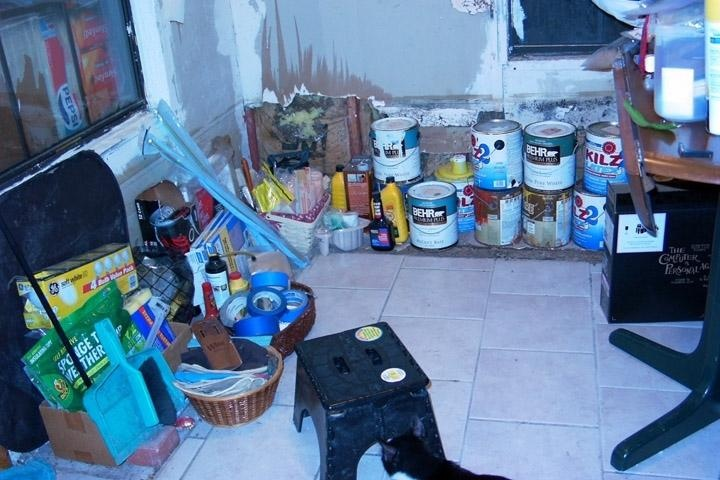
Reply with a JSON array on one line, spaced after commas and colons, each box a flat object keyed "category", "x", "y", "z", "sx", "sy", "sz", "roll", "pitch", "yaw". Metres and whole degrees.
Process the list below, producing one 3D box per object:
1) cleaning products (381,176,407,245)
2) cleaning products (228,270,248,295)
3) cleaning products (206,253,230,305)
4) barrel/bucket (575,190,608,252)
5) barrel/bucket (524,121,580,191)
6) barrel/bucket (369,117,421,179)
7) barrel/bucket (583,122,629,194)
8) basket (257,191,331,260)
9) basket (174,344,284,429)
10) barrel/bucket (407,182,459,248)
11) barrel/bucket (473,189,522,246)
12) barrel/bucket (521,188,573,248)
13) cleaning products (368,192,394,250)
[{"category": "cleaning products", "x": 0.217, "y": -0.191, "z": 3.424, "sx": 0.162, "sy": 0.432, "sz": 0.116, "roll": 5, "pitch": 26, "yaw": 26}, {"category": "cleaning products", "x": -0.638, "y": 0.226, "z": 2.765, "sx": 0.107, "sy": 0.099, "sz": 0.105, "roll": -2, "pitch": 13, "yaw": 3}, {"category": "cleaning products", "x": -0.739, "y": 0.217, "z": 2.726, "sx": 0.116, "sy": 0.271, "sz": 0.113, "roll": -7, "pitch": 12, "yaw": 1}, {"category": "barrel/bucket", "x": 1.410, "y": -0.127, "z": 3.188, "sx": 0.203, "sy": 0.328, "sz": 0.207, "roll": 0, "pitch": 13, "yaw": 0}, {"category": "barrel/bucket", "x": 1.160, "y": -0.510, "z": 3.186, "sx": 0.314, "sy": 0.341, "sz": 0.316, "roll": -6, "pitch": 24, "yaw": 3}, {"category": "barrel/bucket", "x": 0.232, "y": -0.585, "z": 3.468, "sx": 0.300, "sy": 0.370, "sz": 0.233, "roll": 15, "pitch": 32, "yaw": 33}, {"category": "barrel/bucket", "x": 1.441, "y": -0.446, "z": 3.048, "sx": 0.252, "sy": 0.331, "sz": 0.255, "roll": 3, "pitch": 17, "yaw": -1}, {"category": "basket", "x": -0.389, "y": -0.096, "z": 3.329, "sx": 0.386, "sy": 0.324, "sz": 0.382, "roll": 3, "pitch": 24, "yaw": 12}, {"category": "basket", "x": -0.536, "y": 0.733, "z": 2.404, "sx": 0.384, "sy": 0.143, "sz": 0.384, "roll": -13, "pitch": -2, "yaw": -23}, {"category": "barrel/bucket", "x": 0.477, "y": -0.154, "z": 3.379, "sx": 0.337, "sy": 0.367, "sz": 0.337, "roll": -6, "pitch": 22, "yaw": 2}, {"category": "barrel/bucket", "x": 0.857, "y": -0.146, "z": 3.269, "sx": 0.274, "sy": 0.356, "sz": 0.135, "roll": 1, "pitch": 27, "yaw": 10}, {"category": "barrel/bucket", "x": 1.172, "y": -0.178, "z": 3.326, "sx": 0.354, "sy": 0.386, "sz": 0.342, "roll": -6, "pitch": 21, "yaw": 2}, {"category": "cleaning products", "x": 0.135, "y": -0.125, "z": 3.343, "sx": 0.161, "sy": 0.385, "sz": 0.120, "roll": 1, "pitch": 27, "yaw": 11}]
